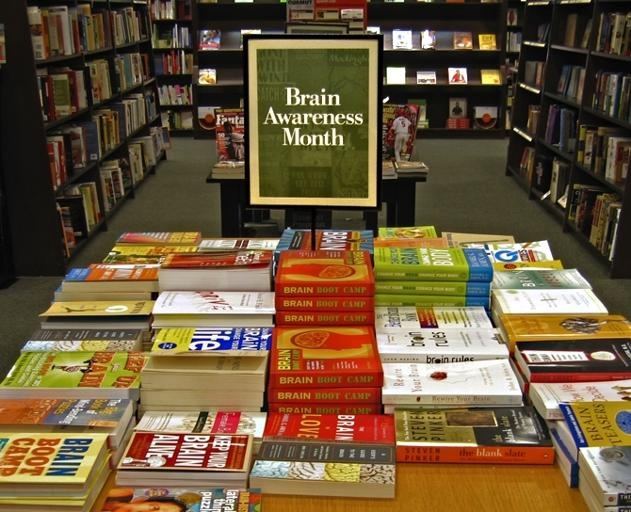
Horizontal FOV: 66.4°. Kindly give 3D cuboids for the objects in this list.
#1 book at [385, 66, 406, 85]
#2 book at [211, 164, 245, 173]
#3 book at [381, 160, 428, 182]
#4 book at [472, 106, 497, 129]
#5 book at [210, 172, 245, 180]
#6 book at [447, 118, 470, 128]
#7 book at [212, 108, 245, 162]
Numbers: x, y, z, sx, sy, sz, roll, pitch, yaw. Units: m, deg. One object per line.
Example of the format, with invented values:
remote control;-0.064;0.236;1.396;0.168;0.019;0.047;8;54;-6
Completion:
book;1.544;-3.497;9.335;0.552;0.409;0.111;-2;-1;10
book;-0.708;-0.720;3.933;0.249;0.085;0.094;1;22;8
book;0.734;-0.704;3.972;0.348;0.154;0.370;1;20;8
book;3.318;-2.745;9.463;0.555;0.400;0.257;-1;14;1
book;-0.722;-0.647;3.907;0.258;0.055;0.033;-1;23;3
book;2.812;-2.608;9.483;0.370;0.138;0.226;2;12;9
book;-0.707;-1.002;3.972;0.236;0.407;0.183;-4;23;0
